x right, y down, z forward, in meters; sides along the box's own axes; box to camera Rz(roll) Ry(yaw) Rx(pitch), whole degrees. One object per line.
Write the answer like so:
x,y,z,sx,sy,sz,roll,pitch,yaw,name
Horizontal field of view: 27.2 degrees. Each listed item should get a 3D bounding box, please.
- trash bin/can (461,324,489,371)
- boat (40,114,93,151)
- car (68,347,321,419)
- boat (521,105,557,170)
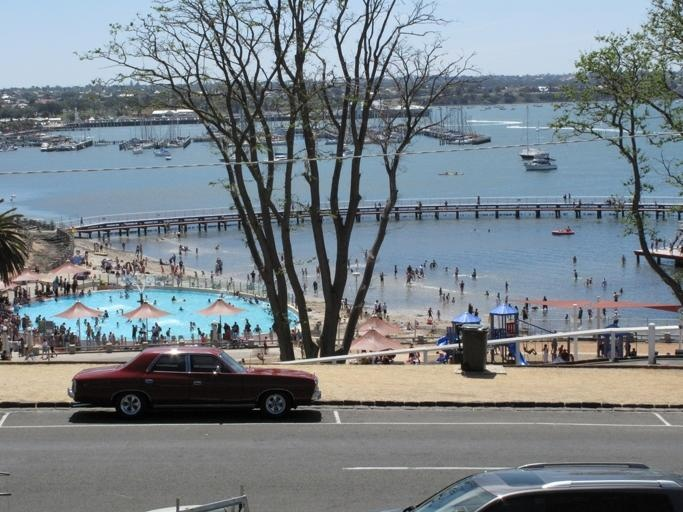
5.437,3.711,57.008,1.167,2.037,0.791,-3,4,11,trash bin/can
-63.566,-26.860,325.173,12.063,5.020,45.510,-4,4,-10,boat
-5.633,4.687,54.312,9.357,2.288,3.873,0,4,-3,car
33.943,-21.884,245.641,5.058,12.794,114.616,-3,4,8,boat
